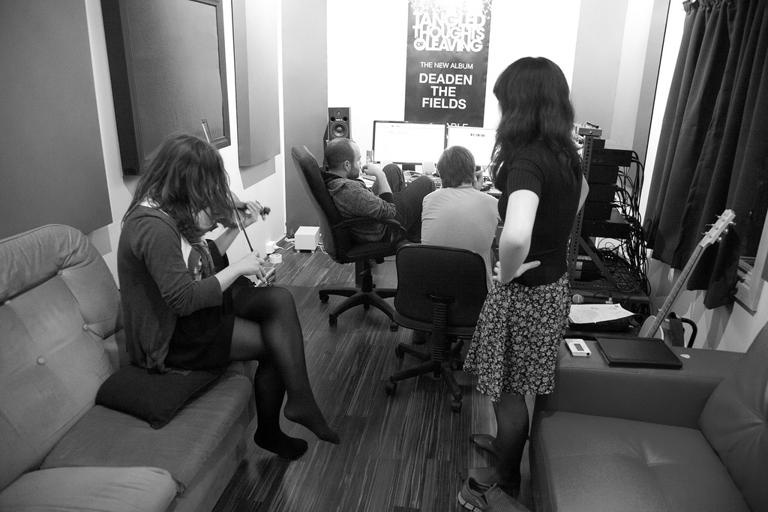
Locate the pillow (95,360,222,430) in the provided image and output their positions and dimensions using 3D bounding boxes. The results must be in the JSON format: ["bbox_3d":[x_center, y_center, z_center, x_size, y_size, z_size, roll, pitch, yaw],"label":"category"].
[{"bbox_3d":[-1.032,0.578,2.408,0.465,0.213,0.550,7,16,9],"label":"pillow"}]

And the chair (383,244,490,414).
[{"bbox_3d":[0.340,0.472,3.014,0.713,1.107,0.735,4,23,11],"label":"chair"}]

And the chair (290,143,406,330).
[{"bbox_3d":[-0.419,-0.187,4.127,0.824,1.501,0.944,-2,17,-16],"label":"chair"}]
